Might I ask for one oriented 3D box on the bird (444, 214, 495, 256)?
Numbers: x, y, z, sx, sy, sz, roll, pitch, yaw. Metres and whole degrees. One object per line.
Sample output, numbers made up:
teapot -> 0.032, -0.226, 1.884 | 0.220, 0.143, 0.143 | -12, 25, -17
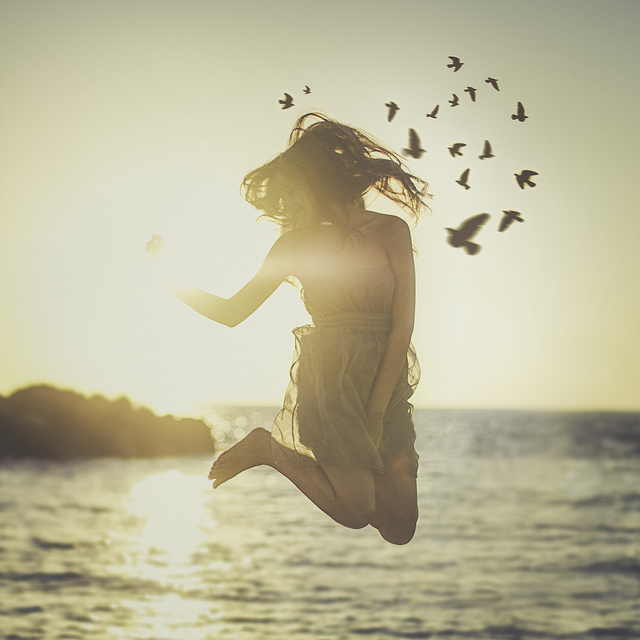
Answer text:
bird -> 0.673, -0.393, 5.802 | 0.204, 0.184, 0.062 | 3, -8, 3

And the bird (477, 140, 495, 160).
bird -> 0.753, -0.768, 5.774 | 0.072, 0.077, 0.029 | 5, 2, -20

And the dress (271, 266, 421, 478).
dress -> 0.117, 0.193, 5.066 | 0.581, 0.801, 0.307 | 4, -8, 1

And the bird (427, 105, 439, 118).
bird -> 0.511, -0.938, 5.773 | 0.047, 0.047, 0.048 | 5, -3, 1

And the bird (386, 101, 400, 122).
bird -> 0.335, -0.936, 5.784 | 0.077, 0.092, 0.028 | 16, -17, 4

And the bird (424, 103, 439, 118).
bird -> 0.514, -0.938, 5.785 | 0.061, 0.060, 0.056 | 29, -3, -21
